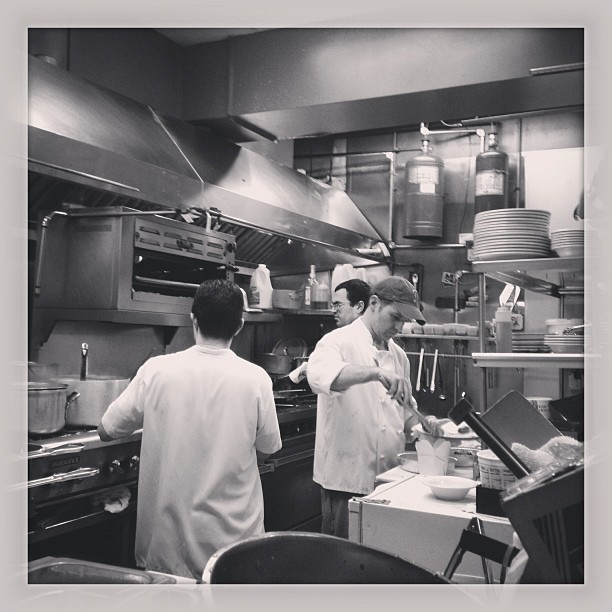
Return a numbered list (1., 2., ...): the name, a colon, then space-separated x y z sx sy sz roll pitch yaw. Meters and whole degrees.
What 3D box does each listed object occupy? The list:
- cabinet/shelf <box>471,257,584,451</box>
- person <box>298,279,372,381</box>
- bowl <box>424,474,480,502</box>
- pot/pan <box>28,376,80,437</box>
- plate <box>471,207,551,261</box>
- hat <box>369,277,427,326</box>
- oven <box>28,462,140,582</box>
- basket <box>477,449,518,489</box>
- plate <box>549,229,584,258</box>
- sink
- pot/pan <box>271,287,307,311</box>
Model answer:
1. cabinet/shelf: 0.884 0.156 2.638 0.524 0.509 0.541 7 2 16
2. person: 0.156 0.110 3.492 0.234 0.807 0.608 5 -8 -1
3. bowl: 0.475 0.606 2.109 0.160 0.068 0.251 -2 0 11
4. pot/pan: -1.001 0.399 2.412 0.158 0.179 0.185 -2 1 -39
5. plate: 0.737 -0.250 2.249 0.196 0.129 0.207 0 -4 -2
6. hat: 0.383 -0.021 2.669 0.215 0.193 0.206 -2 0 5
7. oven: -0.772 0.726 2.163 0.268 0.349 0.508 -3 -7 34
8. basket: 0.572 0.498 1.945 0.095 0.109 0.207 -2 0 1
9. plate: 0.899 -0.209 2.193 0.090 0.068 0.092 0 1 6
10. sink: -0.900 0.375 2.633 0.206 0.142 0.220 2 -6 23
11. pot/pan: -0.111 -0.029 4.588 0.128 0.162 0.231 -6 -14 26
